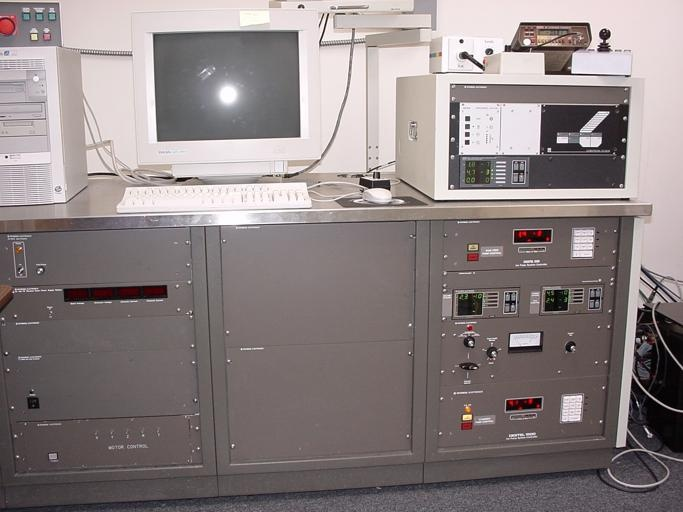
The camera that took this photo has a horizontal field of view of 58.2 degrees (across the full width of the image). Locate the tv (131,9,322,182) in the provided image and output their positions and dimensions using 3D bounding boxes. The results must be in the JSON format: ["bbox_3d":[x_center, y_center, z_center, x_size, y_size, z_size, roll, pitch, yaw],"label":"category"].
[{"bbox_3d":[-0.391,-0.607,2.556,0.927,0.857,0.521,-1,5,-5],"label":"tv"}]

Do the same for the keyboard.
[{"bbox_3d":[-0.448,-0.213,2.212,0.669,0.063,0.243,-3,19,-5],"label":"keyboard"}]
